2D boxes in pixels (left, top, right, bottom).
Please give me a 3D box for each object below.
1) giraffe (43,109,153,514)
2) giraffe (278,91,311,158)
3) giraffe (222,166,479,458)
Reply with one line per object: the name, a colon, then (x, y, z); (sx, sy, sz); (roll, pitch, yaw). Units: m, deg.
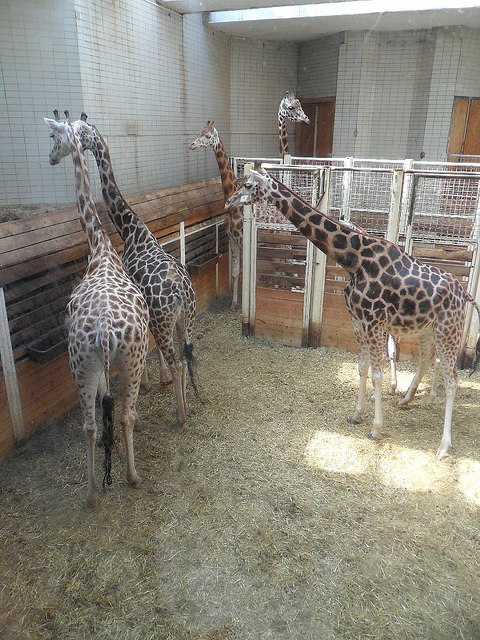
giraffe: (-0.915, -0.036, 2.699); (0.506, 2.406, 1.100); (-4, 11, -24)
giraffe: (0.946, -3.499, 7.120); (0.499, 1.304, 0.345); (6, 59, 11)
giraffe: (1.187, -0.064, 4.098); (2.569, 2.929, 0.910); (0, 5, 1)
